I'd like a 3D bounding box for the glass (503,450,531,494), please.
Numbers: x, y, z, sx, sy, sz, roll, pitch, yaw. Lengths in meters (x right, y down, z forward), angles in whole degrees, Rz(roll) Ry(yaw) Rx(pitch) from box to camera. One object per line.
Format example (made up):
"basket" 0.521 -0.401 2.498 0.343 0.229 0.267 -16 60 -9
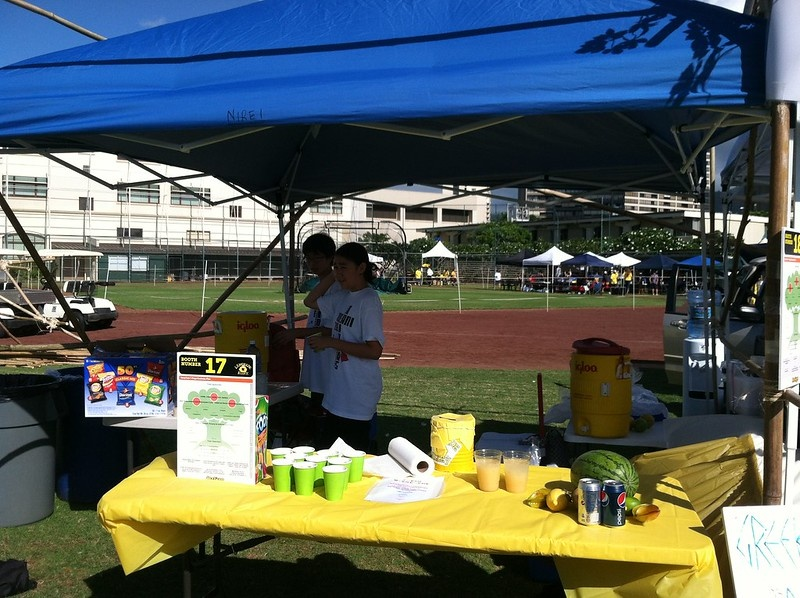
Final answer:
"glass" 0.565 0.859 3.765 0.167 0.174 0.166 1 -10 -1

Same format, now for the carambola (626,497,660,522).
"carambola" 1.094 0.950 3.459 0.132 0.057 0.098 -3 1 -17

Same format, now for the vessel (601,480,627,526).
"vessel" 0.956 0.931 3.452 0.148 0.178 0.143 1 -6 12

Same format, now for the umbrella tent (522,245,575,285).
"umbrella tent" 7.070 -1.949 37.412 2.838 2.137 2.866 2 8 23

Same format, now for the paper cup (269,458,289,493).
"paper cup" -0.572 0.867 3.735 0.134 0.130 0.134 1 -2 0

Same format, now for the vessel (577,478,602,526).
"vessel" 0.859 0.928 3.463 0.144 0.172 0.138 2 -6 -9

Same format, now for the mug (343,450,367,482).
"mug" -0.227 0.854 3.889 0.140 0.127 0.135 0 -3 -5

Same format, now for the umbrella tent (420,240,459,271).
"umbrella tent" 2.012 -2.362 40.819 2.637 1.812 2.504 1 6 6

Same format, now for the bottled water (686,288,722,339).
"bottled water" 3.417 0.173 8.604 0.359 0.527 0.358 -7 -5 40

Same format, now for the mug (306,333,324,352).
"mug" -0.537 0.296 5.003 0.098 0.084 0.245 2 2 -13

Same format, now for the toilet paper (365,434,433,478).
"toilet paper" -0.014 0.768 3.953 0.219 0.086 0.291 1 -1 -27

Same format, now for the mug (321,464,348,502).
"mug" -0.299 0.890 3.728 0.153 0.139 0.150 2 2 23

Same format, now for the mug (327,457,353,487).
"mug" -0.289 0.844 3.725 0.128 0.096 0.130 1 -5 2

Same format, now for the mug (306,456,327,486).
"mug" -0.399 0.852 3.800 0.126 0.120 0.127 0 -1 42

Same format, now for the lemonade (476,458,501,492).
"lemonade" 0.436 0.867 3.772 0.145 0.151 0.145 0 -6 -3

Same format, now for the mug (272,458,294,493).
"mug" -0.570 0.864 3.736 0.139 0.136 0.139 1 -3 -19

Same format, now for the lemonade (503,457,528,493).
"lemonade" 0.563 0.881 3.779 0.149 0.150 0.146 -1 -8 5

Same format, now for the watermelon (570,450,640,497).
"watermelon" 0.979 0.834 3.696 0.185 0.165 0.291 -1 -2 -31

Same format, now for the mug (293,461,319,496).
"mug" -0.462 0.870 3.703 0.145 0.136 0.144 2 -4 -44

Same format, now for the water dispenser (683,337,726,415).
"water dispenser" 3.010 0.841 7.645 0.379 0.821 0.358 -1 1 18

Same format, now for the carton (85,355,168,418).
"carton" -1.558 0.478 4.520 0.626 0.407 0.331 1 5 1

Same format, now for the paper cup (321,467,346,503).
"paper cup" -0.296 0.892 3.684 0.153 0.136 0.148 2 1 0
